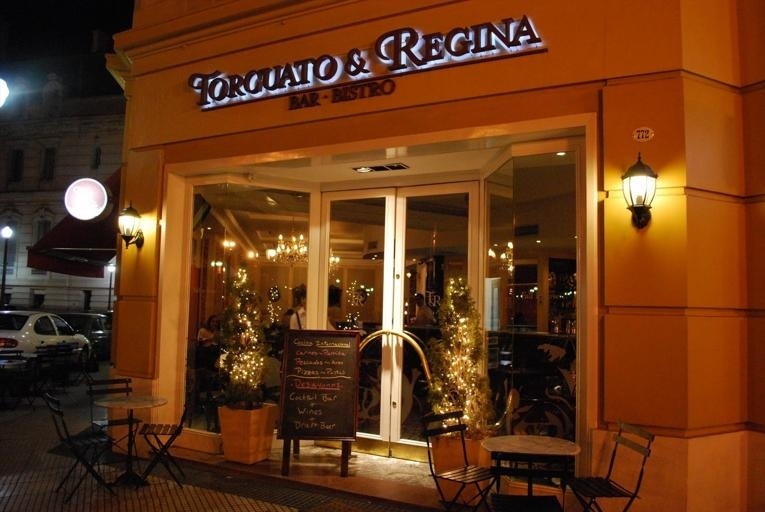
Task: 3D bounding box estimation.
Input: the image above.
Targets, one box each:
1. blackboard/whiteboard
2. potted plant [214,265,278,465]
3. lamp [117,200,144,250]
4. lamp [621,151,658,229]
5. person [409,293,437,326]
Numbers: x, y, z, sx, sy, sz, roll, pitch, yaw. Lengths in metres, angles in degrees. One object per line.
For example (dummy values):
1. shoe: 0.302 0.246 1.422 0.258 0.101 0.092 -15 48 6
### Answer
1. blackboard/whiteboard: -0.851 1.789 9.141 1.532 2.016 0.145 1 -18 -1
2. potted plant: -1.914 1.634 9.463 0.731 2.426 0.692 2 3 33
3. lamp: -3.718 -0.414 9.919 0.322 0.635 0.451 0 -6 33
4. lamp: 2.795 -0.632 7.339 0.313 0.723 0.160 1 2 20
5. person: 0.573 0.839 9.678 0.392 0.732 0.527 0 -7 8
